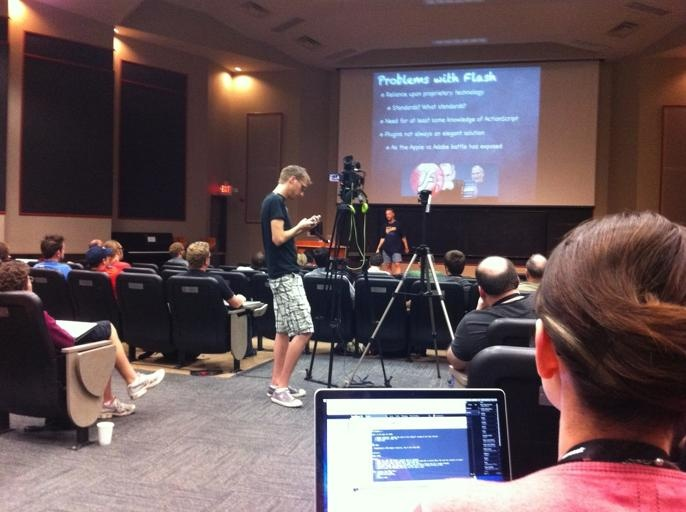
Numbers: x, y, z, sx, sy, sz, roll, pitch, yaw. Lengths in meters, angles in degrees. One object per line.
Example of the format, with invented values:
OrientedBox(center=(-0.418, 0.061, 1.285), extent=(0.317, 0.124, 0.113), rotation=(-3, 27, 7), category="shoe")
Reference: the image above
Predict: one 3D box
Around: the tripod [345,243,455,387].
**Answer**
OrientedBox(center=(0.521, 0.439, 4.492), extent=(0.839, 1.170, 0.774), rotation=(3, 1, -13), category="tripod")

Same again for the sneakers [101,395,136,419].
OrientedBox(center=(-1.360, 0.918, 3.581), extent=(0.215, 0.112, 0.081), rotation=(1, 0, -27), category="sneakers")

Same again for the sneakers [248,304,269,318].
OrientedBox(center=(-0.660, 0.449, 4.700), extent=(0.119, 0.066, 0.101), rotation=(-8, 15, -26), category="sneakers")
